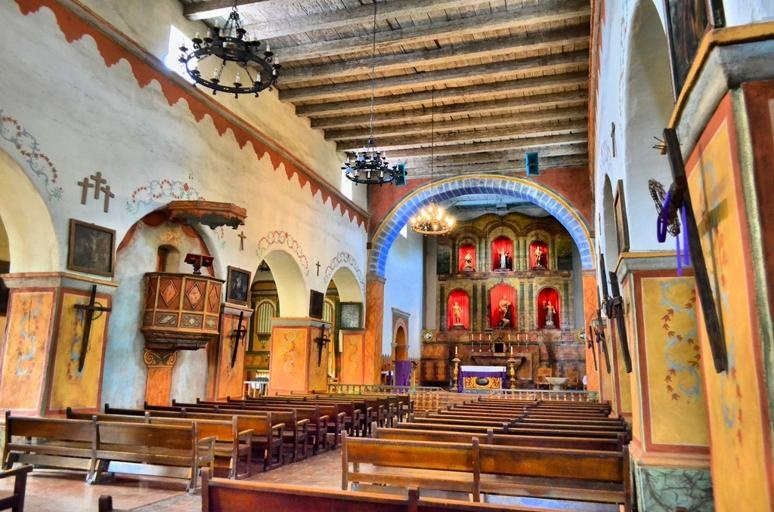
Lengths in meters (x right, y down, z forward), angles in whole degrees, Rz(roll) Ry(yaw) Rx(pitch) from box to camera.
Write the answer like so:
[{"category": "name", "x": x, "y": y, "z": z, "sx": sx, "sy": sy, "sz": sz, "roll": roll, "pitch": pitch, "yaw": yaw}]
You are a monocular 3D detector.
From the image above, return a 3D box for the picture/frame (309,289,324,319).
[{"category": "picture/frame", "x": -2.091, "y": 1.420, "z": 18.015, "sx": 0.130, "sy": 1.005, "sz": 0.841, "roll": -4, "pitch": -7, "yaw": 24}]

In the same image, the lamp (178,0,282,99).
[{"category": "lamp", "x": -3.342, "y": -4.433, "z": 12.648, "sx": 1.699, "sy": 2.279, "sz": 1.735, "roll": 6, "pitch": -30, "yaw": -19}]

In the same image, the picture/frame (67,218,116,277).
[{"category": "picture/frame", "x": -5.399, "y": -0.149, "z": 10.994, "sx": 0.074, "sy": 0.933, "sz": 0.951, "roll": -7, "pitch": -13, "yaw": 23}]
